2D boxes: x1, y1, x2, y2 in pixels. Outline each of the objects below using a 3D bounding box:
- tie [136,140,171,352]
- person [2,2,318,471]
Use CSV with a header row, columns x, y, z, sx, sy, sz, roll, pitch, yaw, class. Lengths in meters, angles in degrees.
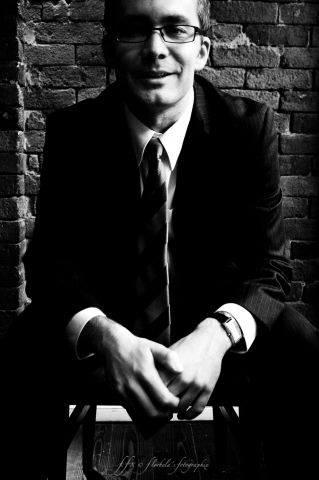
x,y,z,sx,sy,sz,roll,pitch,yaw,class
-0.021,0.012,1.262,0.059,0.531,0.033,8,15,31,tie
-0.001,-0.054,1.218,0.793,1.154,0.598,-1,5,-12,person
